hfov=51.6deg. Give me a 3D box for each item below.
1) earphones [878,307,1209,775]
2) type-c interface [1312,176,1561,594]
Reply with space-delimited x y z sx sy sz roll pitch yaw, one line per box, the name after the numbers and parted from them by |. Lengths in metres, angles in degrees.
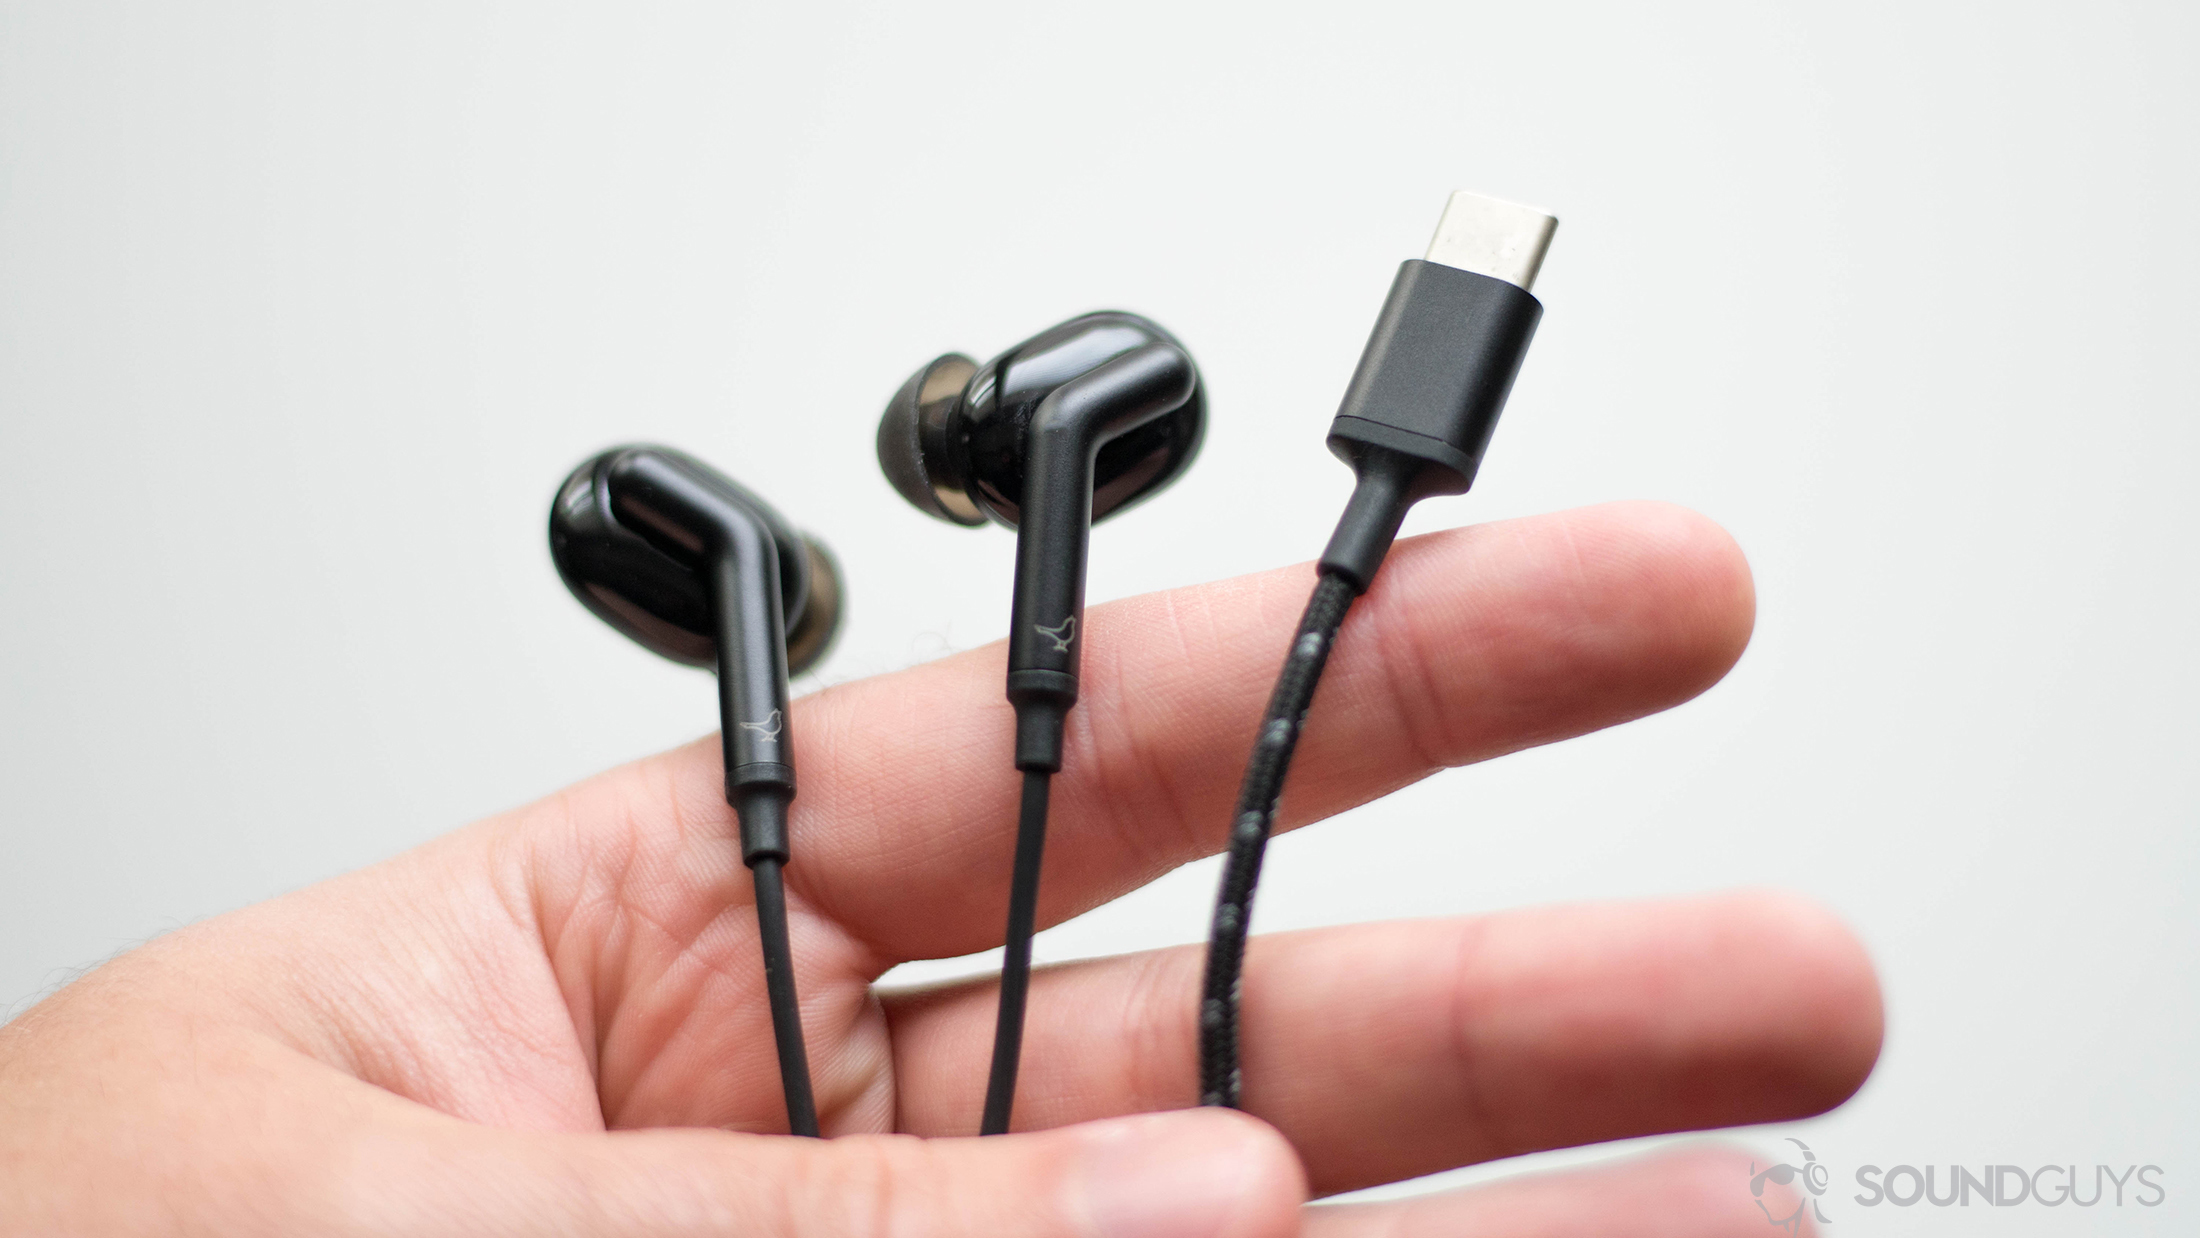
-0.097 -0.098 2.978 0.338 0.567 0.431 3 11 -3 | earphones
0.405 -0.275 2.748 0.248 0.503 0.067 6 -5 -1 | type-c interface
